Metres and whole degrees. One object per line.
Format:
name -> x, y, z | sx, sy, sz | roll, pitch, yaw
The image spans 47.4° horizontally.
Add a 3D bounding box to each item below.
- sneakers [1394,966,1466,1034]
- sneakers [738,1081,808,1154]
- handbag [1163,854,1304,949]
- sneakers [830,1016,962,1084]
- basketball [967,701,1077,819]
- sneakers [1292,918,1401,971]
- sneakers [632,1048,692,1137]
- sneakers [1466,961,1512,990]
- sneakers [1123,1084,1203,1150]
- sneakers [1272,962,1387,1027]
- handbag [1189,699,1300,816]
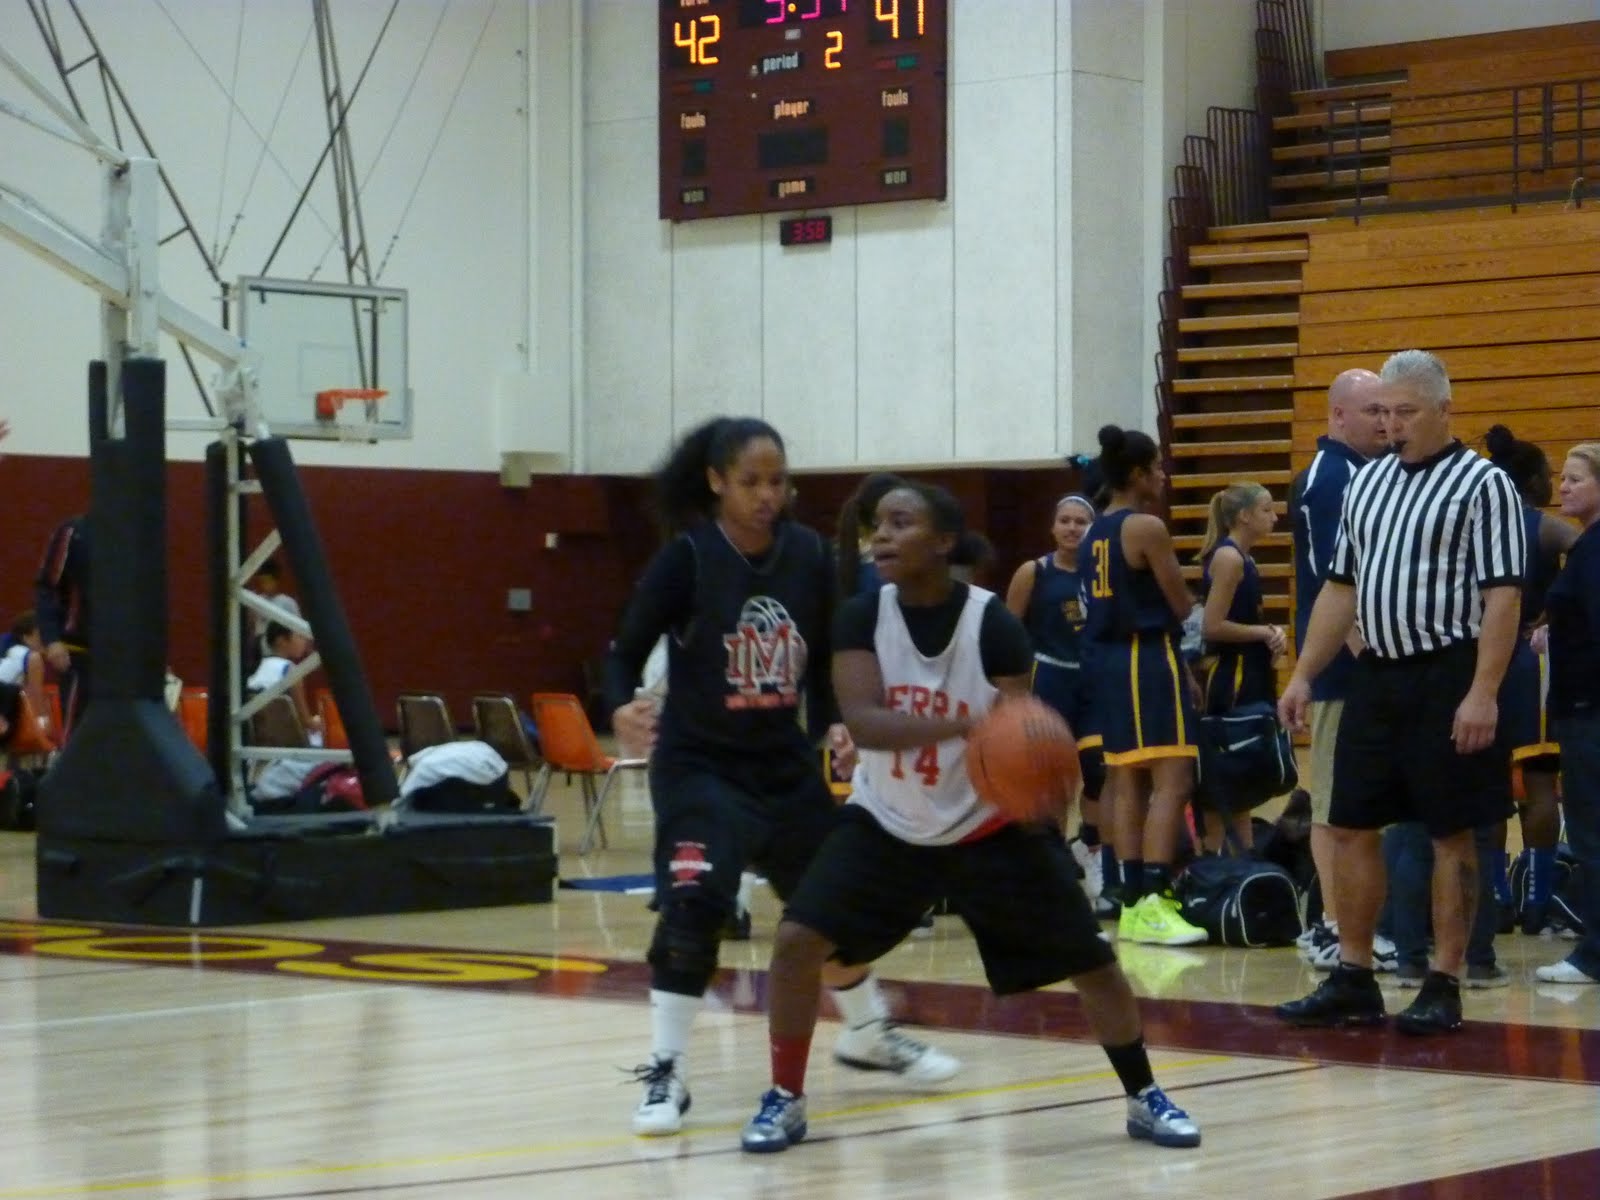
sneakers -> 2.001, 1.290, 5.798 | 0.116, 0.132, 0.279 | -4, -8, 37
sneakers -> -0.058, 1.323, 4.613 | 0.078, 0.127, 0.242 | -4, -11, 24
handbag -> 1.874, 1.314, 7.955 | 0.401, 0.352, 0.480 | 1, -2, -36
sneakers -> 0.273, 1.316, 5.408 | 0.378, 0.163, 0.147 | 4, 0, 19
basketball -> 0.528, 0.421, 4.461 | 0.249, 0.316, 0.260 | -15, -12, 3
sneakers -> 2.211, 1.343, 7.209 | 0.510, 0.244, 0.178 | -1, 0, -11
sneakers -> -0.365, 1.299, 4.816 | 0.116, 0.190, 0.313 | -7, -2, 11
sneakers -> 2.546, 1.397, 6.776 | 0.175, 0.093, 0.064 | -1, 2, -38
sneakers -> 0.910, 1.322, 4.667 | 0.084, 0.113, 0.237 | -1, -4, -30
sneakers -> 1.755, 1.307, 6.040 | 0.361, 0.215, 0.160 | 1, -4, -3
handbag -> 2.023, 0.676, 8.159 | 0.349, 0.487, 0.481 | -13, 10, 7
